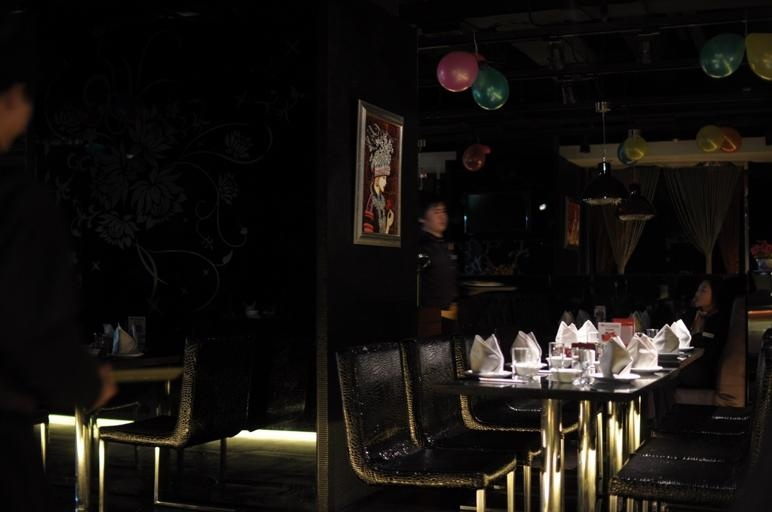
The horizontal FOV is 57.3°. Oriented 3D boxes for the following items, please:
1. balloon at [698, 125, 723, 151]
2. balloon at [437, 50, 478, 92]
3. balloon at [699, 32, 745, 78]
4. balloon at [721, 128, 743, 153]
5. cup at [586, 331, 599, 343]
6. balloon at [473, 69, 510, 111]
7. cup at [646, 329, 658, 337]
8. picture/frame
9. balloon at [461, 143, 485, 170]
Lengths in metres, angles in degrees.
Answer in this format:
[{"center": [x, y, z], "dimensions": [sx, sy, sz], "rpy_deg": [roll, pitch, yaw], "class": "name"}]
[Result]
[{"center": [3.703, -1.360, 8.040], "dimensions": [0.274, 0.359, 0.337], "rpy_deg": [-3, -7, 24], "class": "balloon"}, {"center": [0.596, -1.607, 6.035], "dimensions": [0.342, 0.415, 0.366], "rpy_deg": [5, 17, 3], "class": "balloon"}, {"center": [2.778, -1.675, 5.809], "dimensions": [0.328, 0.352, 0.250], "rpy_deg": [-4, -7, 28], "class": "balloon"}, {"center": [4.130, -1.424, 8.443], "dimensions": [0.201, 0.313, 0.482], "rpy_deg": [-3, -7, 26], "class": "balloon"}, {"center": [1.452, 0.571, 4.967], "dimensions": [0.079, 0.082, 0.077], "rpy_deg": [1, -13, 0], "class": "cup"}, {"center": [0.916, -1.495, 6.217], "dimensions": [0.315, 0.329, 0.255], "rpy_deg": [2, -7, -15], "class": "balloon"}, {"center": [1.963, 0.562, 5.182], "dimensions": [0.077, 0.084, 0.076], "rpy_deg": [1, -4, 0], "class": "cup"}, {"center": [-0.047, -0.635, 5.593], "dimensions": [0.062, 1.097, 1.016], "rpy_deg": [4, 5, 22], "class": "picture/frame"}, {"center": [1.183, -1.344, 9.437], "dimensions": [0.275, 0.380, 0.397], "rpy_deg": [-1, -7, 5], "class": "balloon"}]
